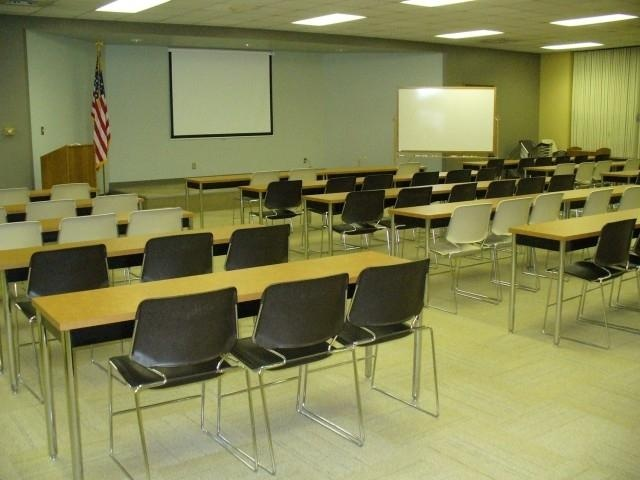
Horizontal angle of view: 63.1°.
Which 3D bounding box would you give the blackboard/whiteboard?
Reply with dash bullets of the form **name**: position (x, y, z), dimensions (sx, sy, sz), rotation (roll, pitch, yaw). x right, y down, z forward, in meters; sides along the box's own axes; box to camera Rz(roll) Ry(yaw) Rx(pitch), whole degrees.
- **blackboard/whiteboard**: position (2.806, -2.599, 11.584), dimensions (2.644, 1.546, 0.062), rotation (-6, 11, -23)
